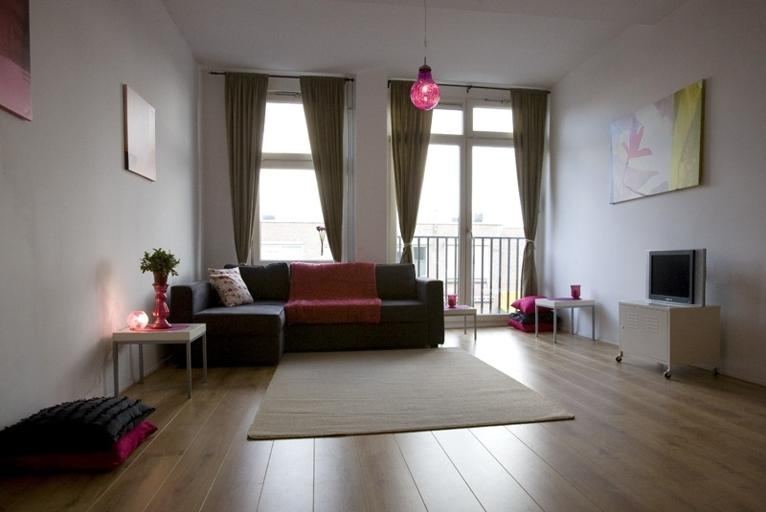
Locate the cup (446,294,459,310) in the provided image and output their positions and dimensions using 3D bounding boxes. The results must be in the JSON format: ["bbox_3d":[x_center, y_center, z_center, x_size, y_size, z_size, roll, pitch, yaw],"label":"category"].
[{"bbox_3d":[0.806,0.520,6.099,0.128,0.159,0.136,0,2,0],"label":"cup"}]

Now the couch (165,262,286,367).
[{"bbox_3d":[-1.484,0.567,5.355,0.881,0.858,0.886,0,-3,-11],"label":"couch"}]

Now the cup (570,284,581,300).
[{"bbox_3d":[2.205,0.411,6.200,0.146,0.204,0.151,0,-2,0],"label":"cup"}]

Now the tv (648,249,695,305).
[{"bbox_3d":[2.678,0.191,4.961,0.026,0.476,0.435,0,1,-28],"label":"tv"}]

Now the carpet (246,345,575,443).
[{"bbox_3d":[0.116,1.092,4.495,2.219,0.156,1.588,-2,14,-5],"label":"carpet"}]

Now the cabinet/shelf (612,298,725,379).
[{"bbox_3d":[2.657,0.734,5.022,0.512,0.606,0.671,-3,2,-15],"label":"cabinet/shelf"}]

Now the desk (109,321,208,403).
[{"bbox_3d":[-1.863,0.838,4.479,0.740,0.580,0.800,-6,15,-21],"label":"desk"}]
